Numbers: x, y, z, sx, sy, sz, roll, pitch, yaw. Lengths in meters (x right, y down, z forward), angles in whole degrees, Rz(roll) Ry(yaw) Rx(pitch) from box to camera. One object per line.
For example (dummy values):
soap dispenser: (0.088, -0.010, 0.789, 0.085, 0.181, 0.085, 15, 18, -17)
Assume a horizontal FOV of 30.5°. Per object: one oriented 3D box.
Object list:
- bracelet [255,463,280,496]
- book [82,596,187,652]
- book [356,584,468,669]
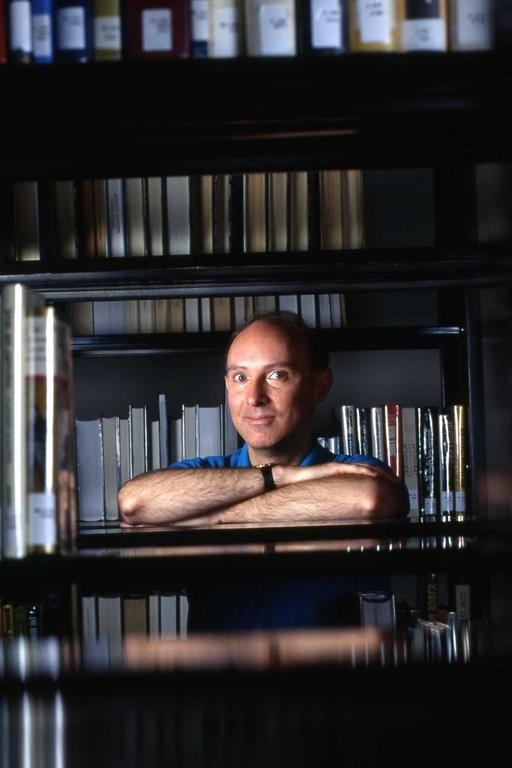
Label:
bracelet: (0.024, 0.147, 1.537, 0.030, 0.045, 0.041, -3, -8, 1)
book: (-0.175, 0.351, 1.415, 0.129, 0.119, 0.051, 0, -12, -4)
book: (0.223, 0.332, 1.327, 0.082, 0.077, 0.117, -9, -8, 22)
